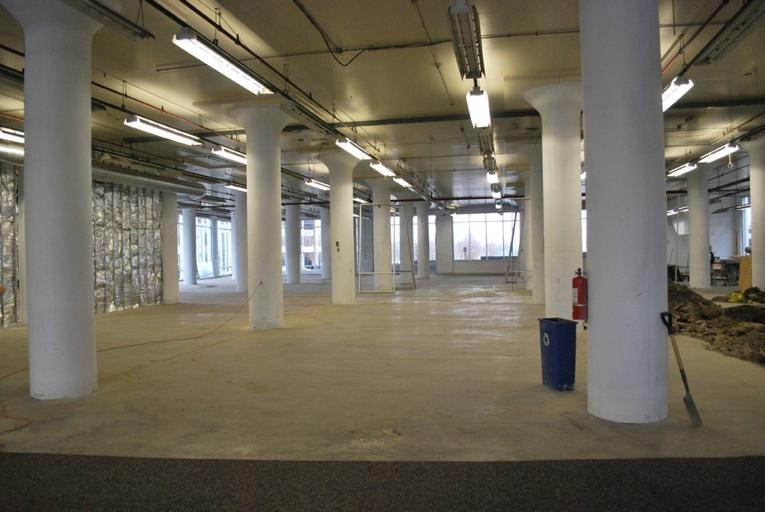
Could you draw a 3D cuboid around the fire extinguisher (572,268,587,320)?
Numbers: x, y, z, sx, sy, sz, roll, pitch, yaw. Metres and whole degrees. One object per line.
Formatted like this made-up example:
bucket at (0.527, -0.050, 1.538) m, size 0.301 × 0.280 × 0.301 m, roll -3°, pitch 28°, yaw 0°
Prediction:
fire extinguisher at (2.937, 0.633, 8.185) m, size 0.208 × 0.637 × 0.205 m, roll 1°, pitch 11°, yaw 13°
